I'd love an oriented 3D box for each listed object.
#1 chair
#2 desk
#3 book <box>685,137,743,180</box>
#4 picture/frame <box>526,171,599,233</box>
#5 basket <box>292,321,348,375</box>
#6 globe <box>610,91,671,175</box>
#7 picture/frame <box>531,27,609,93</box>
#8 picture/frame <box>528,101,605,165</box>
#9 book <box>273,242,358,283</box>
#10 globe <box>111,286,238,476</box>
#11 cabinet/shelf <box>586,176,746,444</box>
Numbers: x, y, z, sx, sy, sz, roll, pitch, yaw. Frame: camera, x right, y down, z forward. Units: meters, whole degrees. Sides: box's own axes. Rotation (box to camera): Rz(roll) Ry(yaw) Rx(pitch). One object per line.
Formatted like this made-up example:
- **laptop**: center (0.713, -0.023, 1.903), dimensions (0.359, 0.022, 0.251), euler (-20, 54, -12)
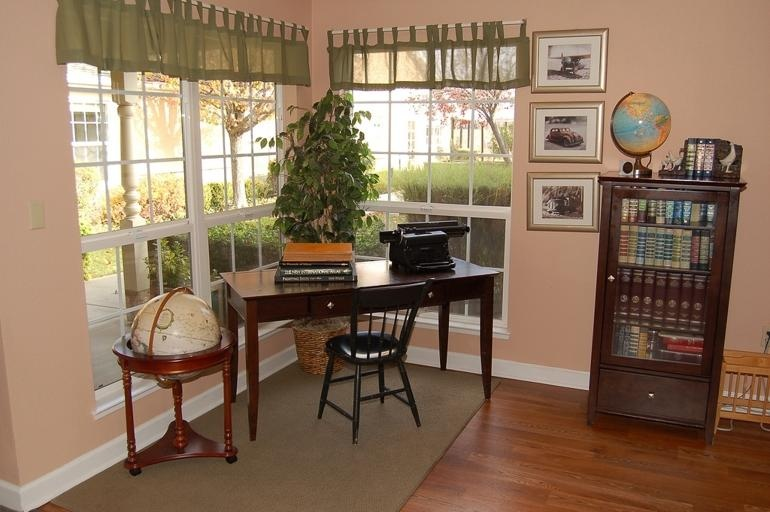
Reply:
- **chair**: center (-0.120, 0.781, 4.543), dimensions (0.865, 1.144, 0.811), euler (2, 5, 38)
- **desk**: center (-0.213, 0.713, 4.952), dimensions (2.161, 1.154, 0.908), euler (-4, 9, -22)
- **book**: center (2.481, -0.727, 4.370), dimensions (0.359, 0.313, 0.194), euler (1, 3, 9)
- **picture/frame**: center (1.556, -0.477, 4.990), dimensions (0.547, 0.496, 0.036), euler (2, 8, 12)
- **basket**: center (-0.626, 0.825, 5.389), dimensions (0.518, 0.391, 0.476), euler (-1, 5, -11)
- **globe**: center (2.055, -0.987, 4.689), dimensions (0.430, 0.662, 0.499), euler (-26, 34, -22)
- **picture/frame**: center (1.568, -1.653, 4.821), dimensions (0.572, 0.452, 0.039), euler (3, 11, 14)
- **picture/frame**: center (1.568, -1.055, 4.903), dimensions (0.555, 0.466, 0.037), euler (3, 10, 22)
- **book**: center (-0.558, 0.049, 4.586), dimensions (0.628, 0.272, 0.269), euler (0, 11, -4)
- **globe**: center (-1.463, 0.852, 4.047), dimensions (0.789, 1.137, 0.800), euler (3, 5, 25)
- **cabinet/shelf**: center (2.177, 0.370, 4.634), dimensions (0.962, 1.945, 0.495), euler (5, 7, 20)
